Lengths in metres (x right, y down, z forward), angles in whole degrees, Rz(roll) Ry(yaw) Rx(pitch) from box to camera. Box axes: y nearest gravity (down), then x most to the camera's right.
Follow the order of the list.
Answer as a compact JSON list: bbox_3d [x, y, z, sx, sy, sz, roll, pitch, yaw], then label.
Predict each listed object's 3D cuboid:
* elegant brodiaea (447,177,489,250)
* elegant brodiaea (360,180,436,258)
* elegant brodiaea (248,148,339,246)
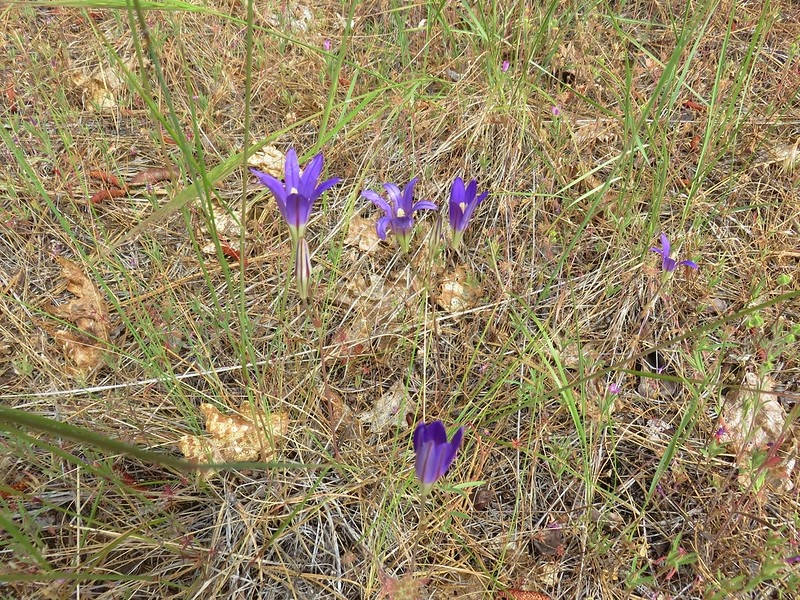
[{"bbox_3d":[0.337,-0.462,4.142,0.159,0.228,0.419,3,100,-20],"label":"elegant brodiaea"},{"bbox_3d":[0.001,-0.478,4.194,0.404,0.391,0.463,-12,49,-7],"label":"elegant brodiaea"},{"bbox_3d":[-0.515,-0.463,3.894,0.393,0.485,0.416,0,86,-19],"label":"elegant brodiaea"}]
